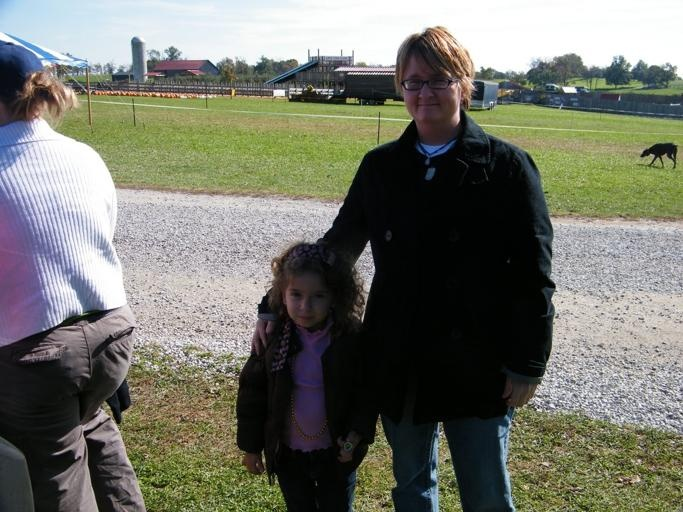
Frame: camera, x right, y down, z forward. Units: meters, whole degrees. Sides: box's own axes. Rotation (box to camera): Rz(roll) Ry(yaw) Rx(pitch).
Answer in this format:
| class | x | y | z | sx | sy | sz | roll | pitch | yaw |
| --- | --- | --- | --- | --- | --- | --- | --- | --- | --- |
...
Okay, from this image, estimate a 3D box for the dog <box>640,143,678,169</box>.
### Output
| class | x | y | z | sx | sy | sz | roll | pitch | yaw |
| --- | --- | --- | --- | --- | --- | --- | --- | --- | --- |
| dog | 9.510 | -3.021 | 18.794 | 0.906 | 0.684 | 2.183 | 11 | 17 | 27 |
